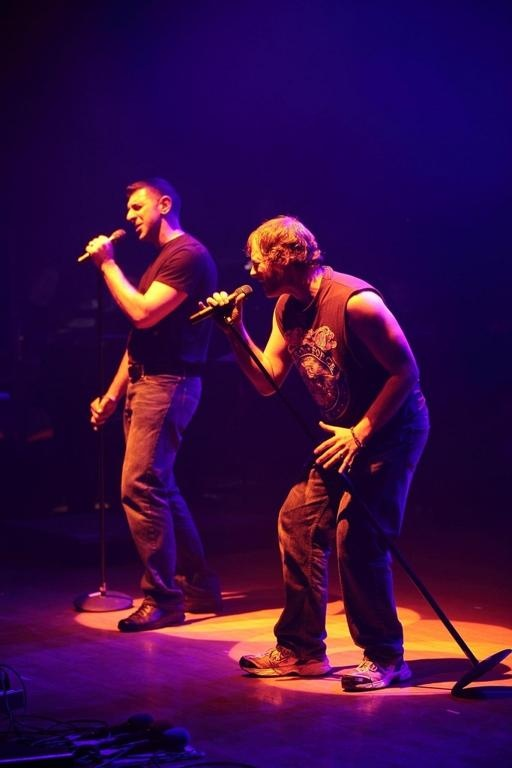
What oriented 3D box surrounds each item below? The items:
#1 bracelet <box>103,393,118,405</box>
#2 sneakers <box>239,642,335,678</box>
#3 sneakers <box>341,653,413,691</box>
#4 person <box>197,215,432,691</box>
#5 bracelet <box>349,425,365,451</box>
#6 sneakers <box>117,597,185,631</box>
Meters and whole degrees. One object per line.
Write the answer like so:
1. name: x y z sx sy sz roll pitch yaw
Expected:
1. bracelet: -0.582 0.060 3.284 0.048 0.036 0.034 -11 4 -25
2. sneakers: 0.083 0.801 2.365 0.253 0.094 0.091 4 -24 1
3. sneakers: 0.311 0.776 2.216 0.214 0.080 0.066 5 -31 -28
4. person: 0.194 0.201 2.330 0.736 1.278 0.350 13 2 19
5. bracelet: 0.264 0.144 2.169 0.023 0.041 0.058 7 -15 -3
6. sneakers: -0.361 0.836 2.965 0.268 0.104 0.085 4 -13 -30
